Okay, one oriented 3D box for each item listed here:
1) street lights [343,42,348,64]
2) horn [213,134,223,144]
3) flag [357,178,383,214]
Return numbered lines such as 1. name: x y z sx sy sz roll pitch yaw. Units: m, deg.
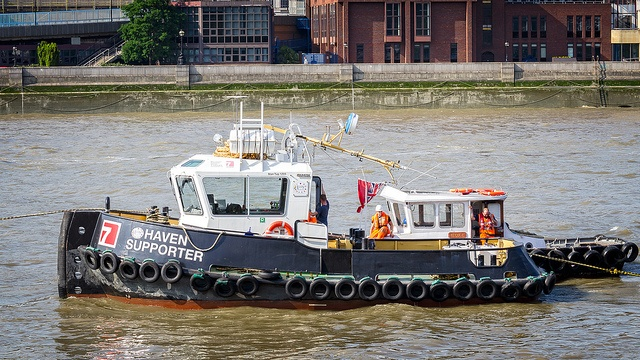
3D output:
1. street lights: 2.451 -12.247 139.775 0.352 1.847 0.681 -1 4 24
2. horn: -6.288 -2.551 91.764 0.818 0.443 0.910 -6 12 -6
3. flag: 2.808 0.719 91.817 0.322 2.025 2.297 -10 -36 44
